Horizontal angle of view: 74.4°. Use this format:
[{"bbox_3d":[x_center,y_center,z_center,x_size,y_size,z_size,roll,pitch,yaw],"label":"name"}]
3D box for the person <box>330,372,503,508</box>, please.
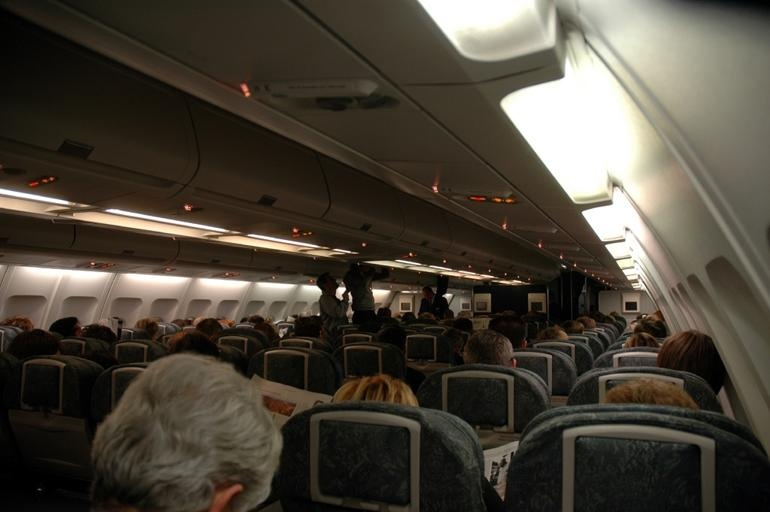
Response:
[{"bbox_3d":[0.063,0.952,2.701,0.702,0.908,0.771,-8,-17,14],"label":"person"}]
